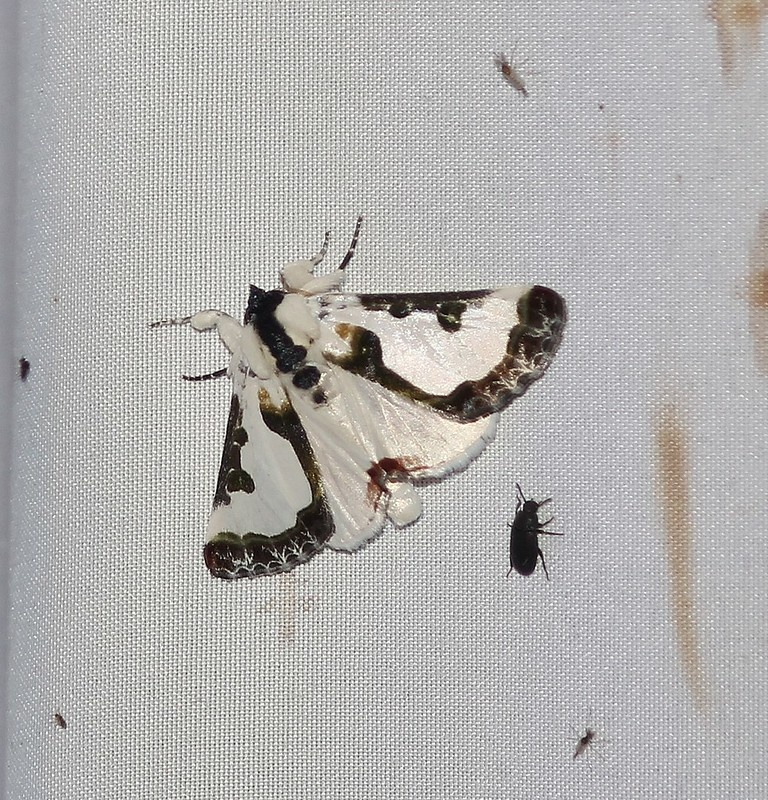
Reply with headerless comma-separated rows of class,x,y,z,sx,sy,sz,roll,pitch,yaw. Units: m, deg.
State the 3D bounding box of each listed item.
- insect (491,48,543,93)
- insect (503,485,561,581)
insect,0.254,-0.638,3.228,0.039,0.033,0.110,-44,91,1
insect,0.277,0.262,3.152,0.148,0.043,0.126,4,91,17
